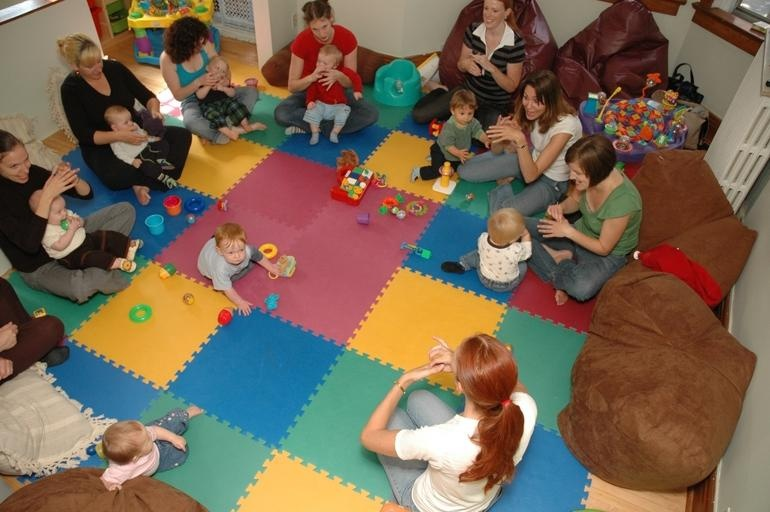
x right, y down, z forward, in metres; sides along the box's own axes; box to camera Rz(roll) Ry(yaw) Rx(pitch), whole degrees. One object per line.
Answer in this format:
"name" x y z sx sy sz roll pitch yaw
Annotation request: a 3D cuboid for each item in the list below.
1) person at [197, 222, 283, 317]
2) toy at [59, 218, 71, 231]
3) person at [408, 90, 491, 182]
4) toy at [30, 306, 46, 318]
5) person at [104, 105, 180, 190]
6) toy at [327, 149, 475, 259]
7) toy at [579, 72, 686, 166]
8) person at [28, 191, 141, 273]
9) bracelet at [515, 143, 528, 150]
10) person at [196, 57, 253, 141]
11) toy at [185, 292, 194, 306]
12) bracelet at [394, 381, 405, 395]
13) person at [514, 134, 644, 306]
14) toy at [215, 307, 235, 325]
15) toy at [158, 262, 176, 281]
"person" -1.380 -0.002 5.063 0.767 0.637 0.615 36 59 18
"toy" -2.878 -0.284 4.955 0.061 0.064 0.086 -4 55 -8
"person" 0.770 -1.334 6.295 0.497 0.917 0.698 -36 64 -25
"toy" -3.090 0.496 4.929 0.130 0.046 0.137 -11 41 -26
"person" -2.525 -1.151 5.861 0.928 0.337 0.564 53 48 -18
"toy" 0.085 -0.507 6.048 1.432 0.285 0.847 24 52 4
"toy" 2.721 -1.536 6.111 1.012 0.288 1.008 -27 61 -4
"person" -2.760 -0.248 5.131 0.803 0.590 0.613 11 45 -3
"bracelet" 1.375 -1.104 5.571 0.075 0.054 0.076 26 63 22
"person" -1.869 -1.736 6.402 0.497 0.436 1.030 -15 73 -29
"toy" -1.815 0.393 5.091 0.092 0.066 0.114 -15 58 -16
"bracelet" 0.118 0.935 3.891 0.026 0.093 0.096 -29 42 -16
"person" 1.833 -0.294 5.249 0.884 1.183 1.014 -21 51 9
"toy" -1.433 0.549 5.014 0.151 0.119 0.111 -47 36 -19
"toy" -2.082 0.122 5.266 0.157 0.092 0.175 -7 56 -10
